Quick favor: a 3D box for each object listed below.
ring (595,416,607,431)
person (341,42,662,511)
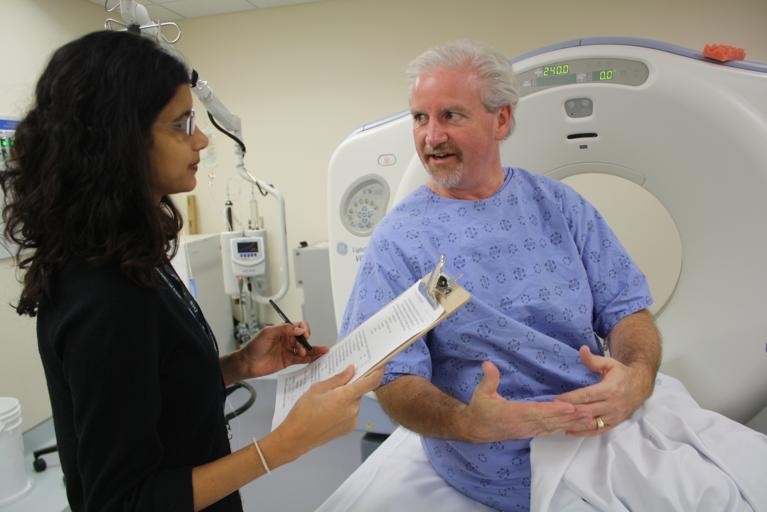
[{"bbox_3d":[0.704,0.534,1.902,0.035,0.038,0.037,-4,7,0],"label":"ring"},{"bbox_3d":[0.407,0.059,2.032,1.102,1.597,0.678,-9,9,-14],"label":"person"}]
